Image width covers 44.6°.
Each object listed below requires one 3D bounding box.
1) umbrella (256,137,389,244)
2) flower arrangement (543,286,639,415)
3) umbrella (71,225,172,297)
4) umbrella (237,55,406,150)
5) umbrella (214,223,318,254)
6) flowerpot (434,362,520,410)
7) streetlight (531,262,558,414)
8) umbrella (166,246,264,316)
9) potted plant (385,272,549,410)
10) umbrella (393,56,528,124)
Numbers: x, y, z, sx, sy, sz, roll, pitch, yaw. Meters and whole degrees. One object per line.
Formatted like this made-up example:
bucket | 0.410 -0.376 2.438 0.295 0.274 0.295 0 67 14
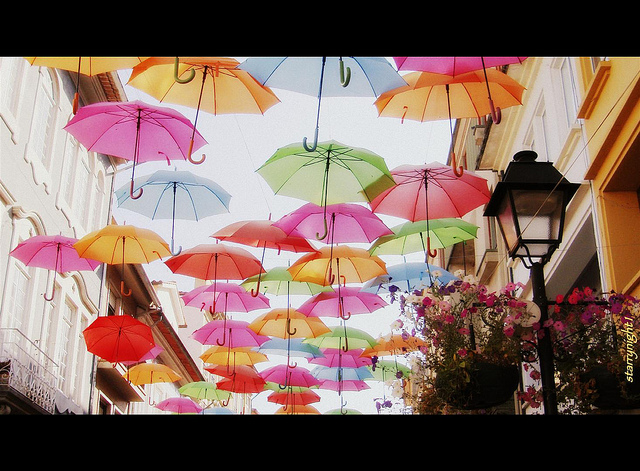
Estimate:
umbrella | 0.121 -0.828 10.006 1.087 0.916 1.195 8 7 0
flower arrangement | 1.976 0.876 5.671 0.709 0.836 0.592 4 -43 5
umbrella | -2.922 0.076 11.685 1.193 0.902 1.210 -6 -29 9
umbrella | 0.039 -1.387 7.972 1.260 0.915 1.356 -8 9 -42
umbrella | -0.774 0.014 11.036 0.670 0.233 0.651 23 -14 -40
flowerpot | 1.237 1.092 5.587 0.388 0.380 0.243 -1 7 8
streetlight | 1.627 0.720 5.651 0.175 0.980 0.696 0 7 15
umbrella | -1.746 0.773 12.863 1.477 1.047 1.511 5 6 29
potted plant | 1.170 0.827 6.135 0.879 0.877 1.435 -2 7 -6
umbrella | 1.126 -1.240 6.457 0.817 0.528 1.345 -4 7 -18
